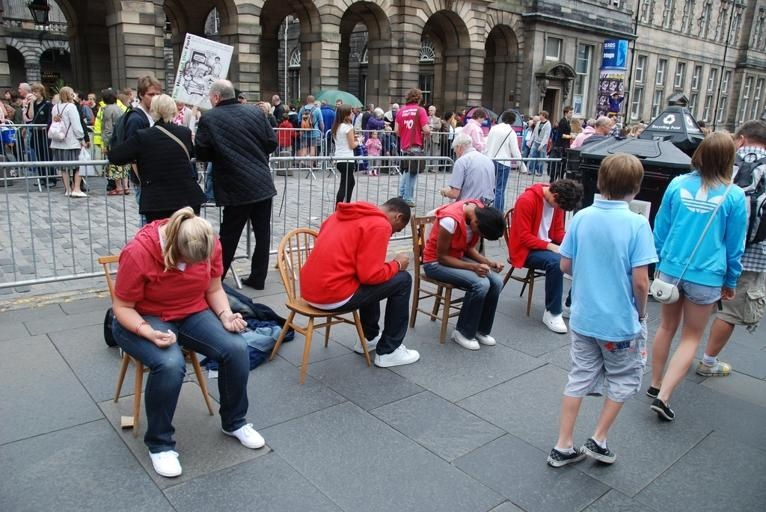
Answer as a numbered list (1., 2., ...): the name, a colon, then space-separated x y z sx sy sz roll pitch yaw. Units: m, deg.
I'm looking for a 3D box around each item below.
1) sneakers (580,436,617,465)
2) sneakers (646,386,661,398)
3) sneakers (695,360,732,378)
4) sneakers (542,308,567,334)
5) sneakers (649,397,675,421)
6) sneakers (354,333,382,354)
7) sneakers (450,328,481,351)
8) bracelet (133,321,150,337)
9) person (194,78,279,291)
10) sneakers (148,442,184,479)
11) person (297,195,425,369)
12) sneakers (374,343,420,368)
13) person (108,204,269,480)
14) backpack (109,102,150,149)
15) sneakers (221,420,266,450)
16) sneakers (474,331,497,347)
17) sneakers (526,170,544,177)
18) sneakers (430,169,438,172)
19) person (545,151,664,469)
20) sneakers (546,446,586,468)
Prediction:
1. sneakers: 1.791 1.605 4.731 0.365 0.171 0.146 31 -7 -16
2. sneakers: 2.613 1.296 5.425 0.109 0.082 0.269 -2 -9 38
3. sneakers: 3.445 1.138 5.915 0.362 0.182 0.147 -4 8 -11
4. sneakers: 2.068 0.777 6.779 0.136 0.163 0.377 -7 11 -18
5. sneakers: 2.563 1.390 5.146 0.317 0.144 0.127 38 -10 -32
6. sneakers: -0.125 0.927 6.144 0.392 0.172 0.142 -15 19 -42
7. sneakers: 0.919 0.908 6.280 0.325 0.148 0.152 13 17 34
8. bracelet: -1.877 0.562 4.407 0.108 0.120 0.086 8 18 23
9. person: -1.831 -0.885 7.280 0.868 2.558 1.066 0 16 -6
10. sneakers: -1.707 1.589 4.422 0.222 0.182 0.235 -6 18 -24
11. person: -0.218 0.306 5.555 1.156 1.681 0.316 -5 18 -19
12. sneakers: 0.143 1.005 5.891 0.453 0.200 0.199 -3 6 -19
13. person: -1.569 0.609 4.515 1.060 2.001 0.782 -8 19 -27
14. backpack: -3.028 -1.541 6.759 0.435 0.473 0.639 -7 18 -24
15. sneakers: -1.167 1.468 4.752 0.402 0.150 0.163 22 23 17
16. sneakers: 1.146 0.920 6.273 0.234 0.097 0.094 2 10 29
17. sneakers: 2.871 -1.561 10.593 0.346 0.152 0.117 -2 15 6
18. sneakers: 0.917 -1.515 10.028 0.124 0.046 0.039 -16 21 -42
19. person: 1.768 0.459 4.532 0.748 2.463 0.772 6 17 17
20. sneakers: 1.484 1.624 4.633 0.351 0.156 0.132 -5 8 -22
